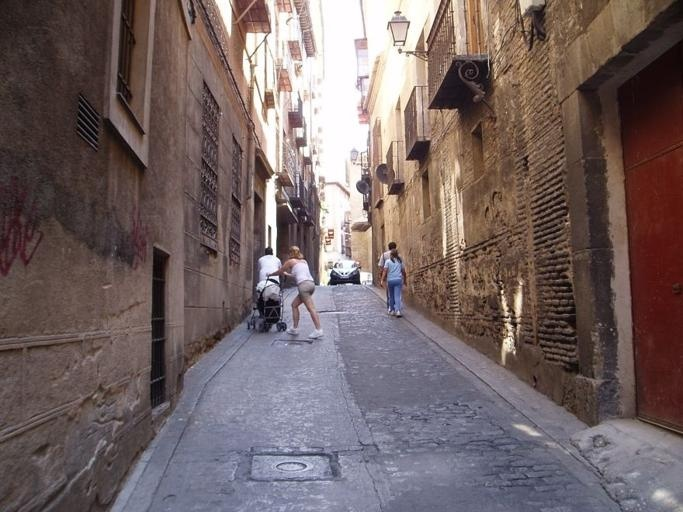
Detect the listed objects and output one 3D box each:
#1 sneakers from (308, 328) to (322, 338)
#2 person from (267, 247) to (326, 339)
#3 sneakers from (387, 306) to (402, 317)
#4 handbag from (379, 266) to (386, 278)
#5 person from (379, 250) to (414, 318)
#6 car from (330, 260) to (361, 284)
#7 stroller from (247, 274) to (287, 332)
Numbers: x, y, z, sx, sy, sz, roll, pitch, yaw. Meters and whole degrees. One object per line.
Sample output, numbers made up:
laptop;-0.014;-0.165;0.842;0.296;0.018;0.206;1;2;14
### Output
sneakers;-0.496;1.447;10.032;0.313;0.183;0.114;-5;-3;45
person;-0.876;0.658;11.370;0.902;1.774;3.126;0;4;-4
sneakers;1.255;1.331;12.775;0.128;0.214;0.431;1;5;-9
handbag;1.008;0.407;13.512;0.257;0.206;0.541;4;-8;1
person;1.192;0.660;12.772;0.523;1.617;1.051;0;4;4
car;0.164;1.013;29.432;1.543;1.155;1.756;0;4;-2
stroller;-1.472;0.918;11.014;0.553;1.233;1.024;-1;5;-16
